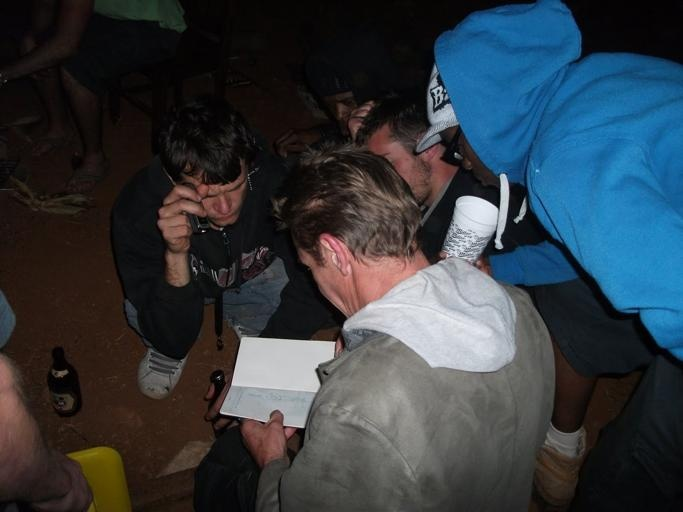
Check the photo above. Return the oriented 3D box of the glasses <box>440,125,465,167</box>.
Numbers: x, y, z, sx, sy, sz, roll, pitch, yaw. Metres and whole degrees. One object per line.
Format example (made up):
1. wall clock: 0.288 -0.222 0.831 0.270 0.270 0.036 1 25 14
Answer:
1. glasses: 0.537 -0.524 2.511 0.056 0.157 0.110 -7 20 8

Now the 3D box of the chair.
1. chair: -1.286 -1.257 3.796 0.614 1.084 0.621 -26 71 -26

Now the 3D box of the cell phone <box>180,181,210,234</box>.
1. cell phone: -0.797 -0.254 2.760 0.124 0.261 0.062 -28 6 23
